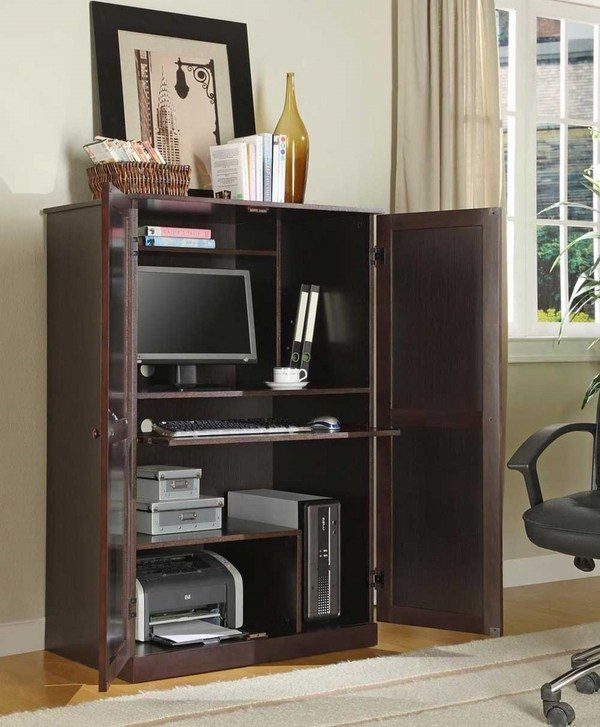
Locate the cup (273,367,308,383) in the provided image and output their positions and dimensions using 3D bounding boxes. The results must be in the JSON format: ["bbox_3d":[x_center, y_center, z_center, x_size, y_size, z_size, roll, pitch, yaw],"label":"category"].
[{"bbox_3d":[-0.027,0.038,2.673,0.088,0.040,0.057,0,0,-19],"label":"cup"}]

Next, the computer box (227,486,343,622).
[{"bbox_3d":[-0.048,0.710,2.777,0.521,0.442,0.536,-6,-15,14],"label":"computer box"}]

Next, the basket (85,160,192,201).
[{"bbox_3d":[-0.528,-0.579,2.450,0.254,0.103,0.201,1,2,43],"label":"basket"}]

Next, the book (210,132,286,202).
[{"bbox_3d":[-0.175,-0.684,2.701,0.279,0.229,0.242,-6,8,-4],"label":"book"}]

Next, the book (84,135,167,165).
[{"bbox_3d":[-0.565,-0.665,2.471,0.137,0.062,0.186,2,4,44],"label":"book"}]

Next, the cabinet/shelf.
[{"bbox_3d":[-0.119,0.238,2.551,1.516,1.517,0.776,1,-2,-37],"label":"cabinet/shelf"}]

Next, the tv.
[{"bbox_3d":[-0.354,-0.128,2.651,0.480,0.417,0.197,-1,1,-45],"label":"tv"}]
